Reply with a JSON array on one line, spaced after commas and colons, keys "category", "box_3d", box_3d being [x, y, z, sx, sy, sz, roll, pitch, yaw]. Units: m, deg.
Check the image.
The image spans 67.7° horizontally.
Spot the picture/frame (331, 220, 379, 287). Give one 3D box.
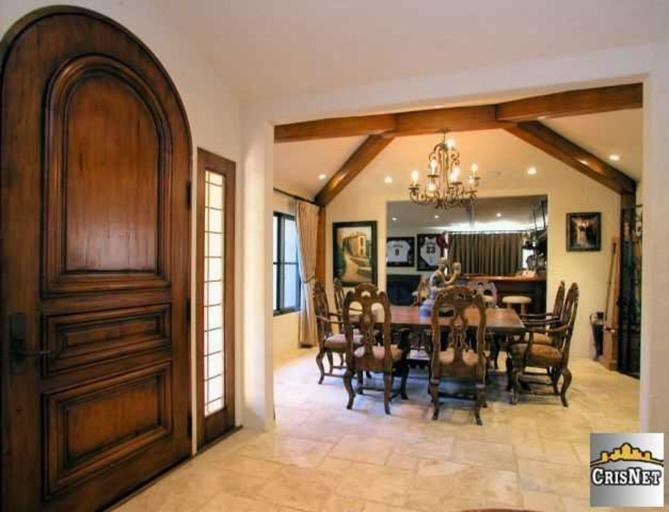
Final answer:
[{"category": "picture/frame", "box_3d": [0.359, -0.055, 8.186, 0.979, 1.488, 0.096, 1, 3, 30]}]

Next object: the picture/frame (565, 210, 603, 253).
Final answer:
[{"category": "picture/frame", "box_3d": [3.530, -0.343, 7.056, 0.537, 0.794, 0.035, 1, -2, 17]}]
